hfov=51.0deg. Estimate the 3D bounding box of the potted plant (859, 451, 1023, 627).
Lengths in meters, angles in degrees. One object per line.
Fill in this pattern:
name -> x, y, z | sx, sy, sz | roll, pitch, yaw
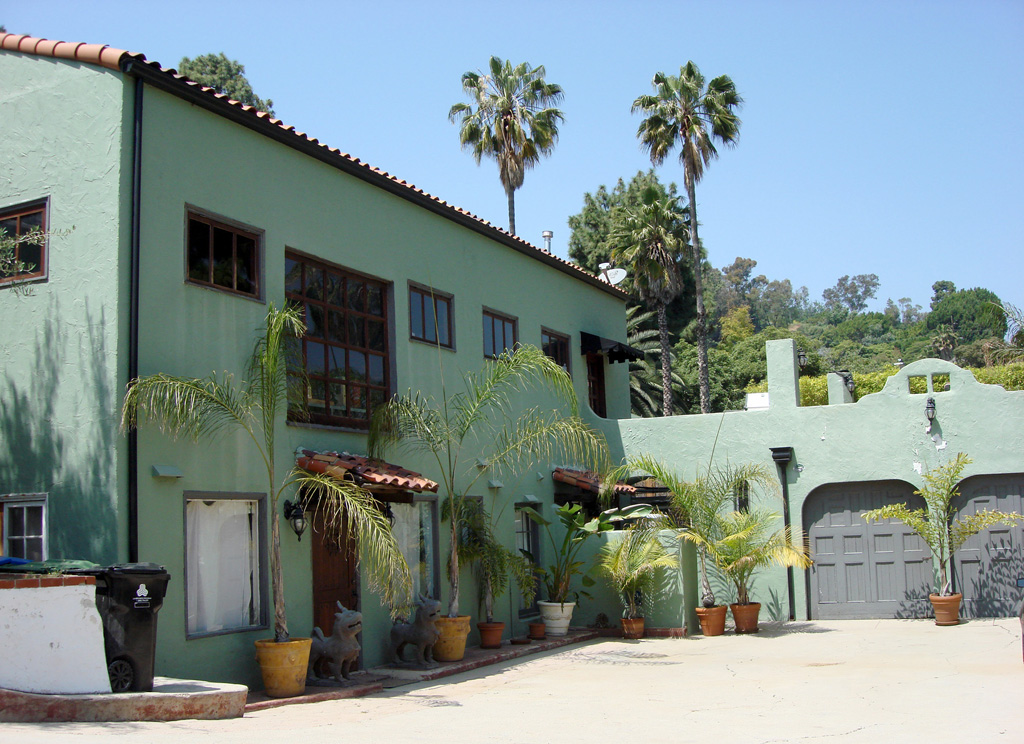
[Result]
potted plant -> 8.138, 3.148, 20.257 | 2.594, 3.191, 1.470 | -5, -11, 17
